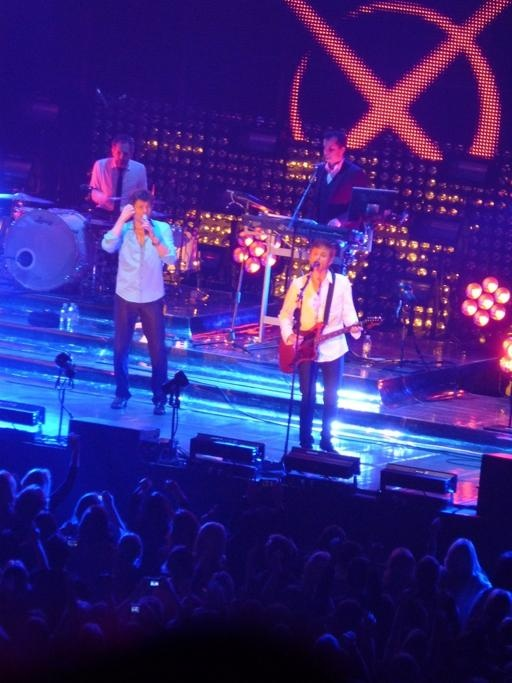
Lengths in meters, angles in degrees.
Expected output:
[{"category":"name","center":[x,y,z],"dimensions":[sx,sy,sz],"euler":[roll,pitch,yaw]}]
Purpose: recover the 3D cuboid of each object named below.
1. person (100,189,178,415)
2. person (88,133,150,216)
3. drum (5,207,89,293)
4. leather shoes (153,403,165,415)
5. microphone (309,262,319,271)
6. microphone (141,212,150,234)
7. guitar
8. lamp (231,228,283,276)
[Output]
[{"category":"person","center":[-0.896,-0.288,5.850],"dimensions":[0.635,1.520,0.370],"euler":[8,2,-7]},{"category":"person","center":[-1.393,-1.593,7.840],"dimensions":[0.622,1.000,0.589],"euler":[6,29,-11]},{"category":"drum","center":[-2.417,-1.052,8.846],"dimensions":[0.873,0.860,0.556],"euler":[-12,1,27]},{"category":"leather shoes","center":[-0.736,0.531,5.888],"dimensions":[0.066,0.077,0.177],"euler":[0,-7,-7]},{"category":"microphone","center":[0.397,-0.486,4.990],"dimensions":[0.055,0.056,0.088],"euler":[8,2,3]},{"category":"microphone","center":[-0.816,-0.881,5.707],"dimensions":[0.045,0.164,0.064],"euler":[-11,0,-12]},{"category":"guitar","center":[0.429,0.056,4.922],"dimensions":[0.520,0.358,0.660],"euler":[8,2,1]},{"category":"lamp","center":[0.012,-1.069,8.926],"dimensions":[0.585,0.567,0.214],"euler":[-7,16,-14]}]
